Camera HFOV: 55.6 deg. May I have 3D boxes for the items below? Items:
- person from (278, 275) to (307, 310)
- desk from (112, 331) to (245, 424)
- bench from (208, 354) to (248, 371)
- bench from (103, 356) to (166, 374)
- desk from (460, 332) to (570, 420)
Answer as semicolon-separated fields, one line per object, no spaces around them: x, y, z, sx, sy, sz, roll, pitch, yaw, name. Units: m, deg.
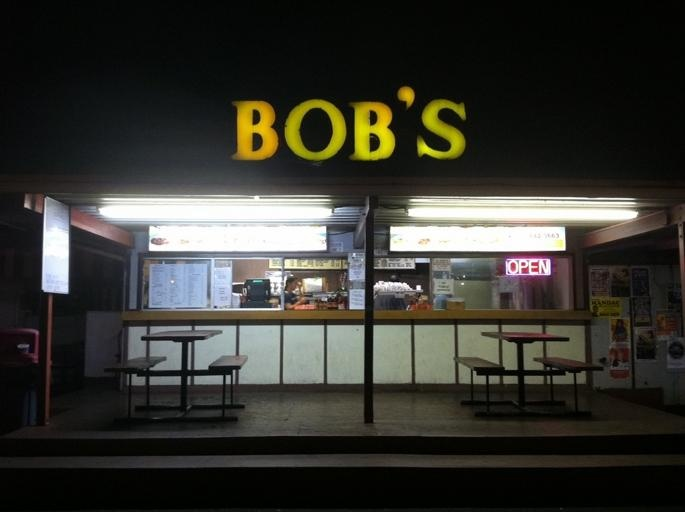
-1.131;0.878;14.370;0.531;0.818;0.587;6;10;18;person
-2.587;1.954;10.541;1.967;1.179;1.854;2;-7;-10;desk
-1.807;1.687;10.356;0.477;0.140;1.423;0;-5;-4;bench
-3.262;1.753;10.307;0.783;0.235;1.547;1;-5;-13;bench
2.758;1.937;10.440;1.490;0.987;1.432;1;-7;3;desk
